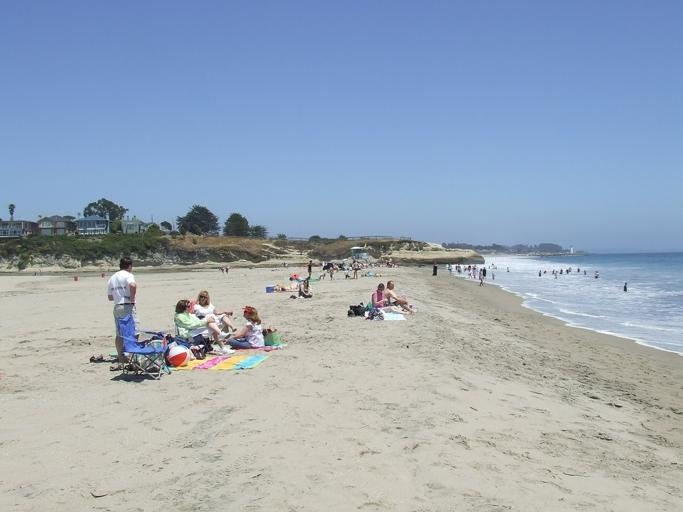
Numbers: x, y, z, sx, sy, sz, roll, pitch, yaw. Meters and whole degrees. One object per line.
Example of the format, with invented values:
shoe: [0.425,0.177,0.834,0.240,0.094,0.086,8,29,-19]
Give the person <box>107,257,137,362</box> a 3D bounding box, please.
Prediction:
person: [-4.613,1.105,11.924,0.540,2.161,1.583,-1,2,-22]

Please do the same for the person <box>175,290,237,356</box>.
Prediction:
person: [-3.146,1.574,13.233,1.975,1.034,1.061,7,9,18]

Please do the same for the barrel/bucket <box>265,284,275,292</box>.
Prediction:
barrel/bucket: [-3.505,1.600,28.061,0.464,0.201,0.389,0,-2,-11]

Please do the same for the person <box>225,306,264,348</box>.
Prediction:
person: [-2.446,1.709,13.708,1.052,0.944,1.093,1,-2,36]

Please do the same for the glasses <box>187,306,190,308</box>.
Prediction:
glasses: [-3.587,1.192,13.336,0.056,0.038,0.047,0,-5,6]

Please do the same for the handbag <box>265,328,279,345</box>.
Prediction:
handbag: [-1.582,1.924,13.579,0.352,0.381,0.438,-10,-20,-1]

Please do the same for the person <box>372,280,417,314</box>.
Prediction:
person: [1.530,1.317,18.195,1.128,1.039,1.879,0,1,36]
